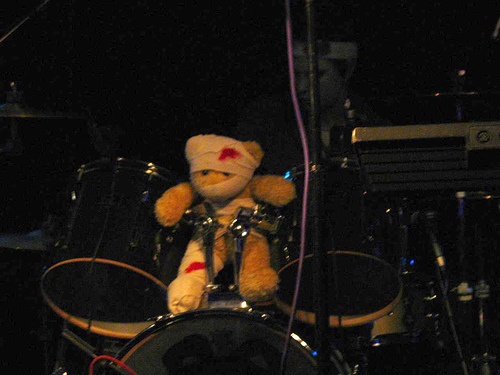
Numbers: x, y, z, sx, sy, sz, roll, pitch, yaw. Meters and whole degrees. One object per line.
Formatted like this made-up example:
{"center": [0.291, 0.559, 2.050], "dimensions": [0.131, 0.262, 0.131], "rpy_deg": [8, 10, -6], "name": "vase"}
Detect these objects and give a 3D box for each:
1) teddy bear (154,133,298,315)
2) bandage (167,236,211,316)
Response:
{"center": [-0.096, 0.127, 2.937], "dimensions": [0.507, 0.645, 0.226], "rpy_deg": [0, 4, -7], "name": "teddy bear"}
{"center": [-0.196, 0.324, 2.945], "dimensions": [0.172, 0.305, 0.112], "rpy_deg": [-7, -47, 35], "name": "bandage"}
